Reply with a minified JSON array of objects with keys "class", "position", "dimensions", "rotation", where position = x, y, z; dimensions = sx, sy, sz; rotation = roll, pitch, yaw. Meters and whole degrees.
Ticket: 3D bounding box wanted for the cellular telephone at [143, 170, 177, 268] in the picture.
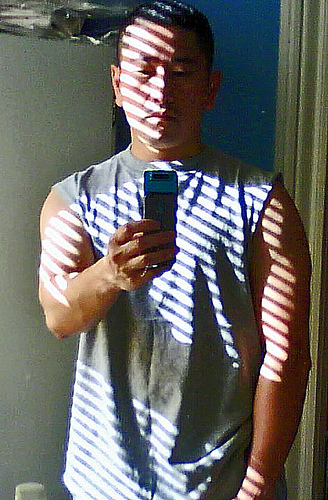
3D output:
[{"class":"cellular telephone","position":[-0.009,-0.102,1.785],"dimensions":[0.067,0.133,0.058],"rotation":[5,12,15]}]
